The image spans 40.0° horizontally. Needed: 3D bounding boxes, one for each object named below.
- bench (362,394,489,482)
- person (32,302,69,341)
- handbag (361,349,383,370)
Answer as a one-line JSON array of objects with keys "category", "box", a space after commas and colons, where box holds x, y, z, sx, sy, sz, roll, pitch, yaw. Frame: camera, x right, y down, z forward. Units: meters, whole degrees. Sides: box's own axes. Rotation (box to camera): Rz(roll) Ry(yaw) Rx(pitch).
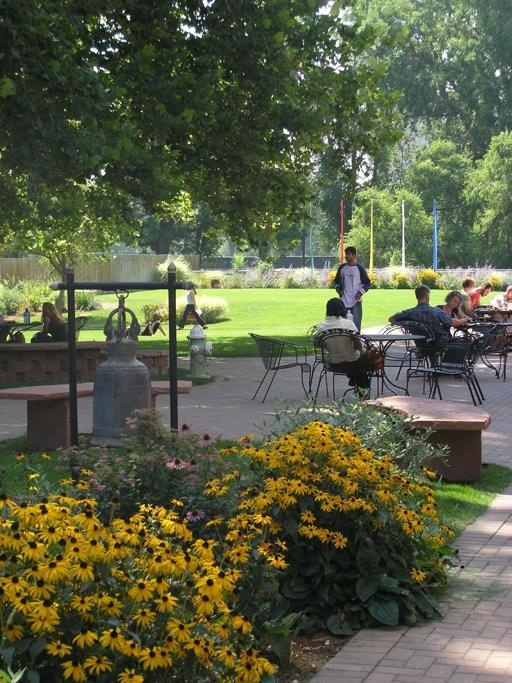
[{"category": "bench", "box": [1.522, 0.841, 5.770, 0.835, 0.675, 1.157, -3, 0, -4]}, {"category": "person", "box": [-4.104, -0.394, 13.994, 0.656, 0.829, 0.920, -3, 0, -17]}, {"category": "handbag", "box": [1.454, 0.233, 8.712, 0.203, 0.240, 0.085, -1, 10, 3]}]
